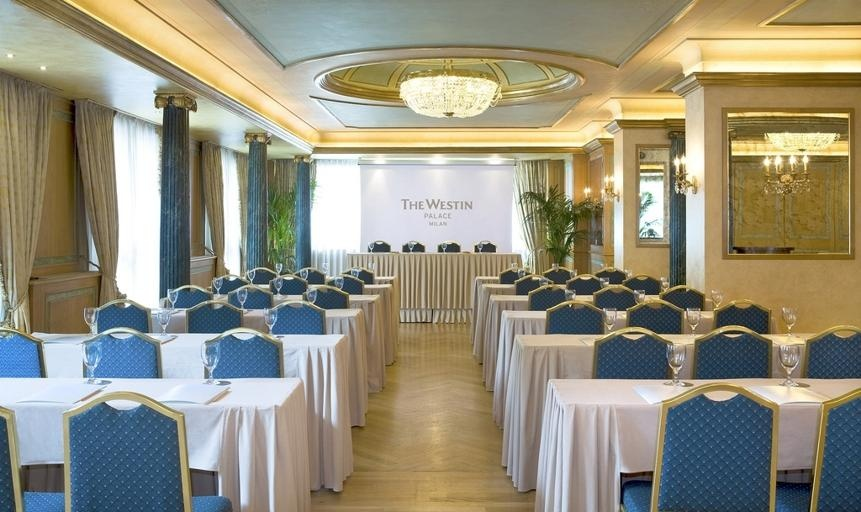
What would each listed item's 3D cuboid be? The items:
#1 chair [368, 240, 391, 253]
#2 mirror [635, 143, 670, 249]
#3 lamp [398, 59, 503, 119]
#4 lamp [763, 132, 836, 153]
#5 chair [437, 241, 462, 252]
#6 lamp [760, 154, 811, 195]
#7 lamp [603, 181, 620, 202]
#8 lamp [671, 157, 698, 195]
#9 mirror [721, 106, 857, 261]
[{"bbox_3d":[-1.171,-0.133,13.905,0.542,0.480,0.286,1,-7,-4],"label":"chair"},{"bbox_3d":[4.449,-1.219,12.151,0.724,2.018,0.411,3,11,-8],"label":"mirror"},{"bbox_3d":[0.325,-2.778,9.845,1.180,0.695,1.135,0,-8,-2],"label":"lamp"},{"bbox_3d":[5.494,-1.702,8.979,1.049,0.322,0.107,4,11,-4],"label":"lamp"},{"bbox_3d":[0.437,-0.187,14.030,0.507,0.447,0.262,0,-11,-2],"label":"chair"},{"bbox_3d":[5.287,-1.235,8.963,0.659,0.599,0.188,0,0,2],"label":"lamp"},{"bbox_3d":[3.761,-1.379,12.522,0.282,0.424,0.465,5,10,4],"label":"lamp"},{"bbox_3d":[4.040,-1.279,9.569,0.375,0.589,0.779,8,10,18],"label":"lamp"},{"bbox_3d":[5.393,-1.170,8.986,2.483,2.731,0.108,0,-3,0],"label":"mirror"}]
